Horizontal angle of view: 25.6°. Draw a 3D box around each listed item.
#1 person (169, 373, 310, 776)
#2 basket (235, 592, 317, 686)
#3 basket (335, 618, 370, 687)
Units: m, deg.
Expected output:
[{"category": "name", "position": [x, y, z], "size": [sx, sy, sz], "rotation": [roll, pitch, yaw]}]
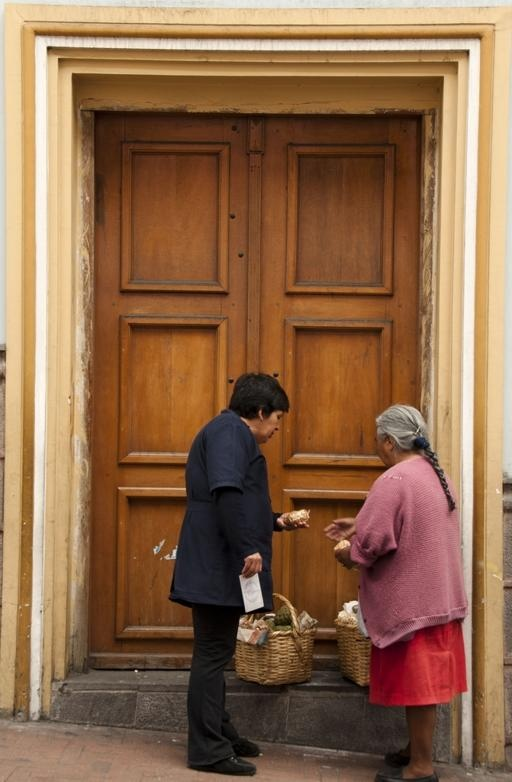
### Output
[{"category": "person", "position": [-0.128, 0.747, 4.721], "size": [0.455, 1.621, 0.495], "rotation": [0, 3, 15]}, {"category": "basket", "position": [0.083, 1.071, 5.038], "size": [0.373, 0.483, 0.317], "rotation": [4, -6, -37]}, {"category": "basket", "position": [0.442, 1.157, 5.103], "size": [0.187, 0.289, 0.222], "rotation": [0, -3, 15]}]
